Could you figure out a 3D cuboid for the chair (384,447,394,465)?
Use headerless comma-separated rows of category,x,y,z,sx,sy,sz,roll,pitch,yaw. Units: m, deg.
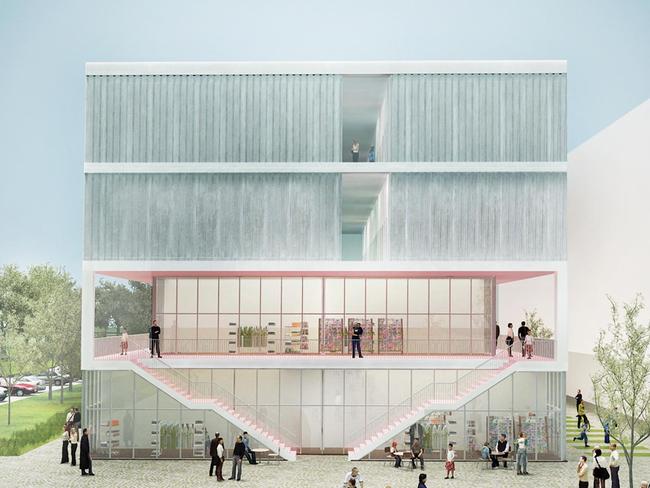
chair,5.099,16.934,84.348,0.591,1.417,1.291,3,-9,-27

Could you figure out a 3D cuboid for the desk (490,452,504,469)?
desk,13.771,17.141,83.552,0.956,0.932,1.131,0,-5,28

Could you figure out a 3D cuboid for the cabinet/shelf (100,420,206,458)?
cabinet/shelf,-13.924,15.760,85.166,8.501,3.052,0.877,-1,-7,4

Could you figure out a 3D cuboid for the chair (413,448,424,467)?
chair,7.521,17.094,83.899,0.765,1.571,1.532,-1,-8,5

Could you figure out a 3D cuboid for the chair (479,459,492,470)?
chair,12.811,17.518,83.883,1.004,0.747,1.426,-2,-9,9

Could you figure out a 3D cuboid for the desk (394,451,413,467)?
desk,6.225,17.088,84.006,1.198,1.823,1.174,0,-3,-5

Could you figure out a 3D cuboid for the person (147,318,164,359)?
person,-13.972,7.848,86.769,0.953,3.066,1.556,1,-8,-9
